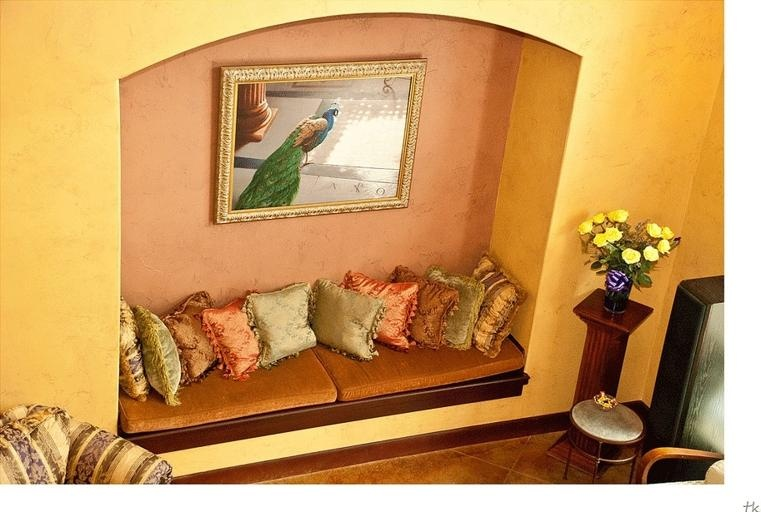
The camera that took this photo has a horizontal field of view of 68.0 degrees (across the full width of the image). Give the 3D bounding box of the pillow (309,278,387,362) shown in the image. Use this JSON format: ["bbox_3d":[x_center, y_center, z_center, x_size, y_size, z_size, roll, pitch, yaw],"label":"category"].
[{"bbox_3d":[-0.285,0.478,4.365,0.573,0.507,0.169,21,-11,8],"label":"pillow"}]

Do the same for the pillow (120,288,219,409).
[{"bbox_3d":[-1.432,0.639,3.840,0.634,0.680,0.257,-8,-2,-44],"label":"pillow"}]

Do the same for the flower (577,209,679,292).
[{"bbox_3d":[1.822,-0.012,4.266,0.739,0.694,0.536,1,14,1],"label":"flower"}]

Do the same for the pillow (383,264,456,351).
[{"bbox_3d":[0.337,0.418,4.273,0.567,0.548,0.168,22,0,13],"label":"pillow"}]

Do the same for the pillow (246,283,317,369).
[{"bbox_3d":[-0.681,0.499,4.233,0.624,0.557,0.175,-7,-5,18],"label":"pillow"}]

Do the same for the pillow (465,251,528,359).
[{"bbox_3d":[0.791,0.404,4.419,0.193,0.636,0.591,4,32,-43],"label":"pillow"}]

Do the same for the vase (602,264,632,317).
[{"bbox_3d":[1.781,0.263,4.285,0.247,0.366,0.245,9,4,27],"label":"vase"}]
